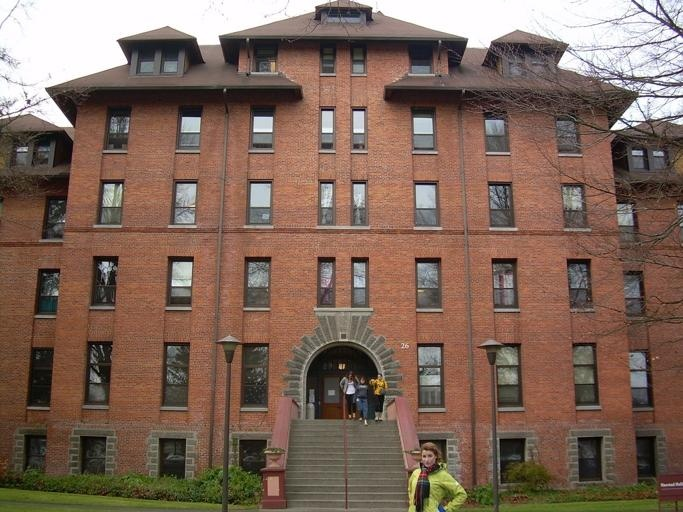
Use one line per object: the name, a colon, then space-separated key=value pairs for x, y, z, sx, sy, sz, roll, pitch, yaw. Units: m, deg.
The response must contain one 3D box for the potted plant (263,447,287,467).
potted plant: x=-2.542 y=7.702 z=26.644 sx=1.041 sy=0.573 sz=0.862 roll=0 pitch=-23 yaw=-2
